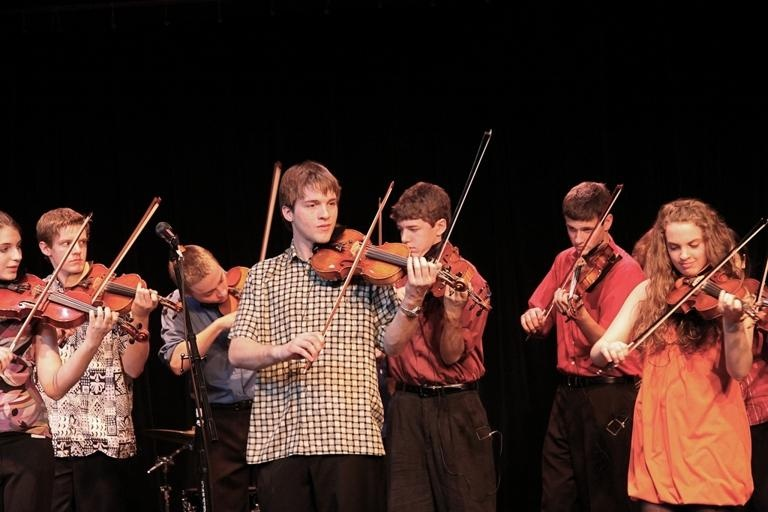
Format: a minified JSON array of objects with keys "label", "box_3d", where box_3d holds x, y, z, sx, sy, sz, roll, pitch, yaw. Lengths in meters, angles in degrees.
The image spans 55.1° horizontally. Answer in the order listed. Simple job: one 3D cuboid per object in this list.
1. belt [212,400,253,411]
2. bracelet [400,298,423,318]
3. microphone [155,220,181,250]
[{"label":"belt","box_3d":[-1.055,1.037,5.113,0.210,0.054,0.155,-1,-9,4]},{"label":"bracelet","box_3d":[0.141,0.270,3.834,0.082,0.058,0.094,-3,26,-37]},{"label":"microphone","box_3d":[-1.227,-0.115,4.162,0.126,0.164,0.253,8,-3,-24]}]
